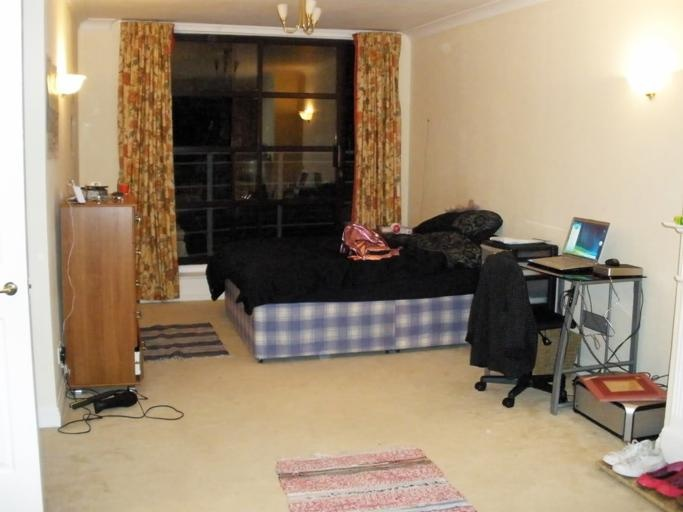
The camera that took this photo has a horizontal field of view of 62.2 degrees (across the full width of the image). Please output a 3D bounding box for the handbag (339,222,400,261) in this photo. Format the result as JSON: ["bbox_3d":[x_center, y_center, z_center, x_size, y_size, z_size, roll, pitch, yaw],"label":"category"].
[{"bbox_3d":[0.232,-0.114,5.361,0.366,0.186,0.441,-14,22,-36],"label":"handbag"}]

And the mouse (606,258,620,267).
[{"bbox_3d":[1.984,0.041,4.167,0.098,0.041,0.130,1,13,2],"label":"mouse"}]

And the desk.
[{"bbox_3d":[1.343,0.523,4.250,0.721,1.021,0.699,-4,7,-28],"label":"desk"}]

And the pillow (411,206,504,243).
[{"bbox_3d":[1.252,-0.342,5.977,0.432,0.331,0.978,-7,14,-28],"label":"pillow"}]

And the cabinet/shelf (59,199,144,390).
[{"bbox_3d":[-1.759,0.279,4.076,0.528,1.287,1.333,-2,5,-15],"label":"cabinet/shelf"}]

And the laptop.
[{"bbox_3d":[1.775,-0.058,4.406,0.490,0.365,0.524,-4,11,-14],"label":"laptop"}]

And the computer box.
[{"bbox_3d":[1.910,0.971,3.894,0.422,0.242,0.536,-14,12,-10],"label":"computer box"}]

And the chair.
[{"bbox_3d":[1.266,0.536,4.153,0.653,1.113,0.487,-4,14,-19],"label":"chair"}]

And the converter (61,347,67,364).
[{"bbox_3d":[-1.977,0.692,4.013,0.019,0.124,0.081,-2,13,-11],"label":"converter"}]

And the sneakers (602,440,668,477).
[{"bbox_3d":[1.731,1.183,3.320,0.261,0.092,0.160,-4,8,-13],"label":"sneakers"}]
